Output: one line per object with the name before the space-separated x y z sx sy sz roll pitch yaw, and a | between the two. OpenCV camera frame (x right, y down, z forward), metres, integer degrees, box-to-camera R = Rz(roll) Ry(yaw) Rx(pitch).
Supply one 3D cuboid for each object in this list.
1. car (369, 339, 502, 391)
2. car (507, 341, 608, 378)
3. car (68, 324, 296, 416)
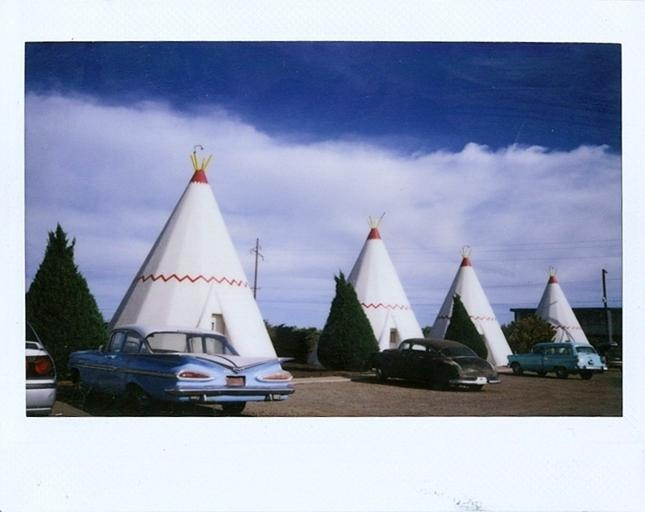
car | 2.208 2.111 15.272 1.004 0.792 2.194 9 -7 -43
car | 5.485 2.293 18.060 0.970 0.636 1.663 9 -9 -41
car | -2.422 1.725 11.750 2.903 0.953 1.393 -2 -9 42
